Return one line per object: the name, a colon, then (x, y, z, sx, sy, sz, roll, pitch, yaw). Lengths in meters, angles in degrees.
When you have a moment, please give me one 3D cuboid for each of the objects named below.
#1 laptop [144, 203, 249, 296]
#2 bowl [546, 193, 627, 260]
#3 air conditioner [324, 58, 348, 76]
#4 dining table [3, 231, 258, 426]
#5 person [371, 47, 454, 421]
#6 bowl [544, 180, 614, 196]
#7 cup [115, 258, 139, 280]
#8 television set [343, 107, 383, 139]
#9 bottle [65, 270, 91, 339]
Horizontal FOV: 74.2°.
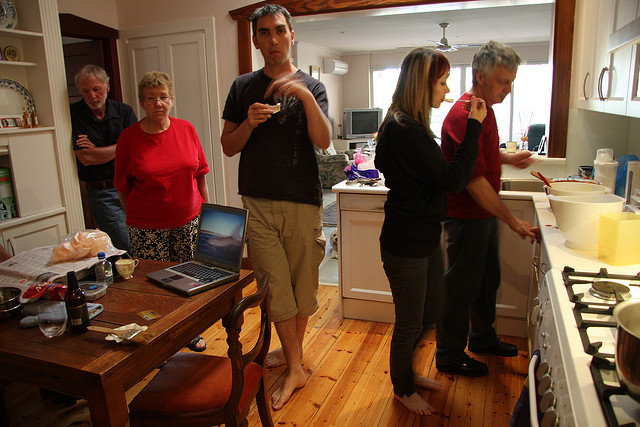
laptop: (-0.672, 0.171, 2.246, 0.467, 0.372, 0.440, 5, 10, 34)
bowl: (1.275, 0.055, 2.109, 0.348, 0.239, 0.321, 1, 3, 0)
air conditioner: (0.356, -3.614, 10.411, 0.283, 0.329, 0.838, 7, 16, 31)
dining table: (-0.917, 0.458, 2.178, 1.405, 0.502, 1.009, 5, 10, 20)
person: (0.553, 0.147, 2.488, 0.469, 2.110, 0.476, 4, 15, 20)
bowl: (1.424, -0.144, 2.346, 0.204, 0.095, 0.244, -1, 7, 2)
cup: (-1.070, 0.299, 2.337, 0.124, 0.089, 0.101, -1, -3, -9)
television set: (1.250, -2.299, 10.838, 1.038, 0.806, 0.556, 4, 17, 24)
bottle: (-1.100, 0.391, 1.895, 0.080, 0.282, 0.192, -11, 17, -31)
